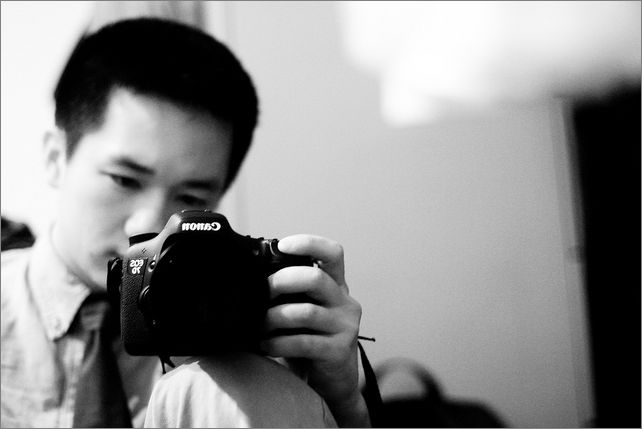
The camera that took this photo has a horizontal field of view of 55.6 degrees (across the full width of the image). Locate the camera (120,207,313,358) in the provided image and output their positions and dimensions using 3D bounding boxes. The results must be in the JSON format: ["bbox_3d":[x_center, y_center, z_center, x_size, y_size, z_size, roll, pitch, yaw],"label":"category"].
[{"bbox_3d":[-0.190,0.152,1.291,0.498,0.284,0.381,-7,-11,44],"label":"camera"}]
